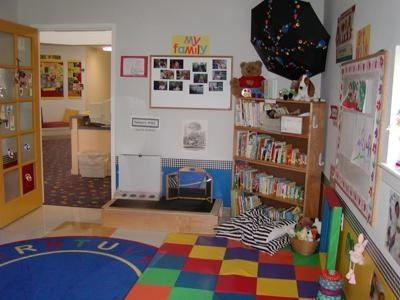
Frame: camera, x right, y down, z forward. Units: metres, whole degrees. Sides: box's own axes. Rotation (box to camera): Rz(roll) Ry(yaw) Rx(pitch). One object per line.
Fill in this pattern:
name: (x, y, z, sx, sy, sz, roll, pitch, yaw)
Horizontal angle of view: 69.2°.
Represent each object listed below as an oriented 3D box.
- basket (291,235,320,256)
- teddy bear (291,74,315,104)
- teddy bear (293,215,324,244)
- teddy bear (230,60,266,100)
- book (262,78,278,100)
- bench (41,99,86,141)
basket: (1.180, 1.113, 3.329, 0.234, 0.135, 0.197, 1, 4, 21)
teddy bear: (1.301, -0.795, 3.690, 0.263, 0.315, 0.249, 14, 29, 29)
teddy bear: (1.264, 0.917, 3.436, 0.213, 0.093, 0.295, 1, 14, 7)
teddy bear: (0.662, -0.990, 4.081, 0.486, 0.540, 0.309, 3, 0, 30)
book: (0.923, -0.801, 3.836, 0.219, 0.338, 0.242, 2, 6, 9)
bench: (-4.917, -1.154, 10.416, 1.311, 1.388, 0.540, -5, 11, -25)
